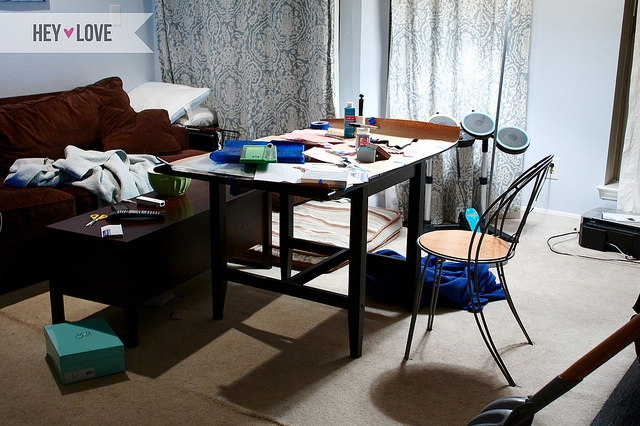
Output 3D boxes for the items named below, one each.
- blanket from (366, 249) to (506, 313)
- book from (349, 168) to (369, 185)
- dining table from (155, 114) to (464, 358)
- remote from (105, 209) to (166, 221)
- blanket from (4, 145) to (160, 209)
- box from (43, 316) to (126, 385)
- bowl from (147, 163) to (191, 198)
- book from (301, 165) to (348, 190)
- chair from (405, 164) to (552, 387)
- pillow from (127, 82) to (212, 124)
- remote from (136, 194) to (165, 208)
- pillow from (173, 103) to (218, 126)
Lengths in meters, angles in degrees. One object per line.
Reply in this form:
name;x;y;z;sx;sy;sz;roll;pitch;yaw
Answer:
blanket;0.715;0.469;3.069;0.588;0.171;0.484;7;16;17
book;0.185;-0.176;2.318;0.082;0.015;0.092;11;28;26
dining table;0.019;0.064;2.995;1.159;1.083;1.743;12;20;28
remote;-1.050;0.009;2.706;0.241;0.031;0.121;0;12;-6
blanket;-1.693;-0.293;3.357;0.755;0.216;0.577;9;19;20
box;-1.272;0.722;2.526;0.376;0.380;0.172;-11;51;-4
bowl;-0.973;-0.184;3.049;0.217;0.136;0.220;1;1;0
book;0.015;-0.171;2.294;0.216;0.065;0.238;2;17;-2
chair;0.994;0.398;2.976;0.807;1.274;0.715;18;33;33
pillow;-1.401;-1.060;4.352;0.533;0.128;0.487;16;39;29
remote;-1.028;-0.078;2.861;0.159;0.040;0.083;6;24;1
pillow;-1.136;-0.895;4.445;0.246;0.079;0.258;-32;43;-28
